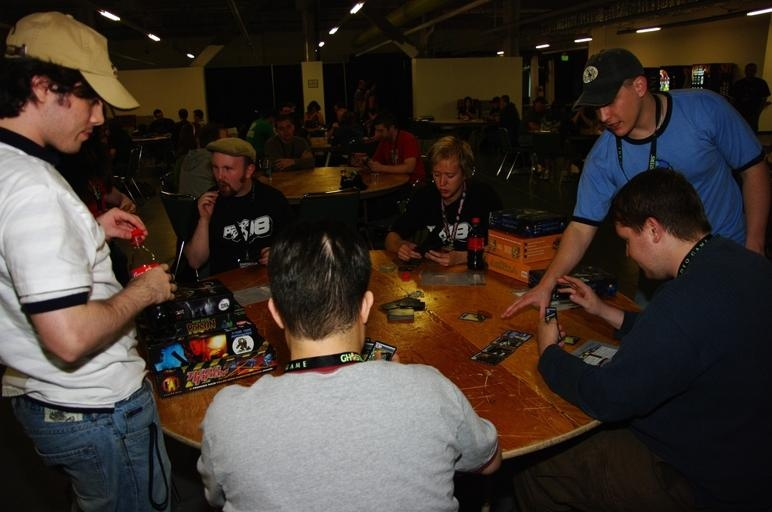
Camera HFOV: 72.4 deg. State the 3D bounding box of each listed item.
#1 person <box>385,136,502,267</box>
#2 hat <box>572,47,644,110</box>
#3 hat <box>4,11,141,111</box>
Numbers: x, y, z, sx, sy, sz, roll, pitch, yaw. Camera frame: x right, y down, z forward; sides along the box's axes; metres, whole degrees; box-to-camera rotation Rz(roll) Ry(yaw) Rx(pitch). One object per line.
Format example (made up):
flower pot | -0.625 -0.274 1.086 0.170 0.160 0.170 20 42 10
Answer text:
person | 0.402 -0.307 3.607 0.724 0.897 0.873 -1 21 12
hat | 1.084 -0.916 2.653 0.414 0.216 0.278 -36 25 -23
hat | -0.991 -0.611 1.760 0.424 0.222 0.252 11 19 -33
